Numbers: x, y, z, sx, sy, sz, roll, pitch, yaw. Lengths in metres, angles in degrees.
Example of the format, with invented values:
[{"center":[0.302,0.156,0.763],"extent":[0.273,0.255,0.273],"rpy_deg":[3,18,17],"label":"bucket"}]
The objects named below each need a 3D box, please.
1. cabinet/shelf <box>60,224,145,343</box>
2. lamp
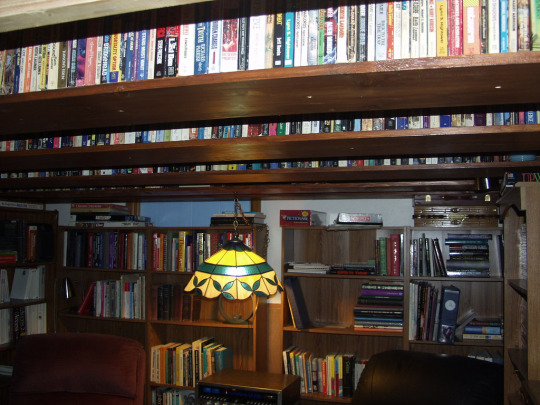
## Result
[{"center":[-1.483,0.704,4.798],"extent":[1.166,1.161,0.365],"rpy_deg":[-2,-9,21],"label":"cabinet/shelf"},{"center":[-0.177,0.231,3.188],"extent":[0.573,0.574,0.591],"rpy_deg":[3,14,36],"label":"lamp"}]
